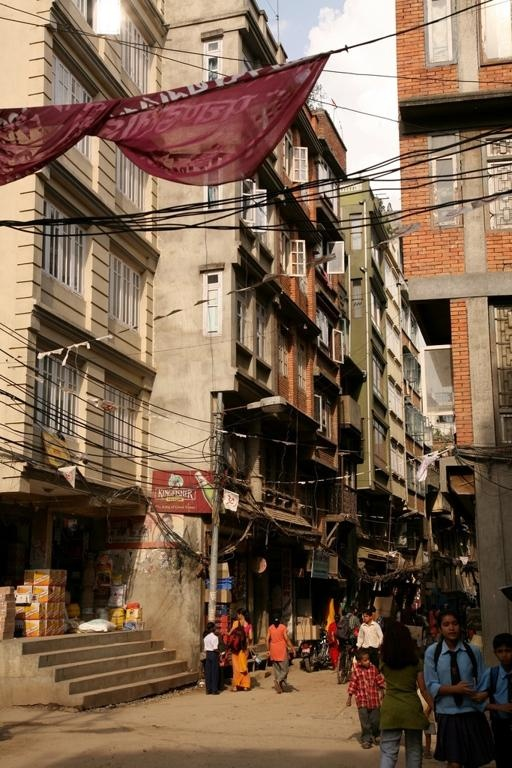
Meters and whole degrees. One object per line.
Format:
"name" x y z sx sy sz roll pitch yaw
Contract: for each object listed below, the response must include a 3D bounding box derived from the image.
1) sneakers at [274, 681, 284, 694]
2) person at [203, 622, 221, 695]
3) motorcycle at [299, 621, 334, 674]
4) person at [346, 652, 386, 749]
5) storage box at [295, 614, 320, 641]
"sneakers" 0.445 5.790 17.301 0.129 0.187 0.398 1 -12 2
"person" -0.814 5.184 17.136 0.286 1.252 0.605 0 -10 -3
"motorcycle" 1.379 7.044 23.954 0.790 1.181 1.672 -4 -11 25
"person" 1.330 3.698 10.726 0.372 1.190 0.343 -8 6 -10
"storage box" 1.556 7.492 27.902 0.568 0.705 0.673 -4 -11 14
